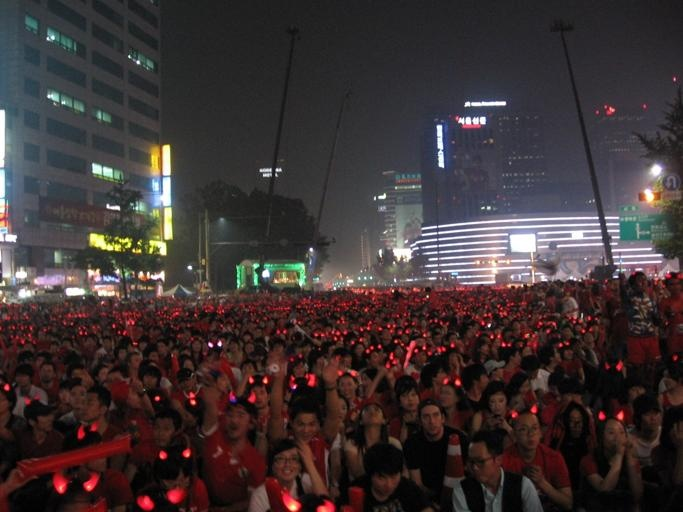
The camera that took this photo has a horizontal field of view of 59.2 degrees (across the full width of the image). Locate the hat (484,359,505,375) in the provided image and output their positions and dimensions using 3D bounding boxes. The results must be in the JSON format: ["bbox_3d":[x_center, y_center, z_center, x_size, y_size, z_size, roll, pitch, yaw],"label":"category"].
[{"bbox_3d":[2.949,2.127,11.703,0.496,0.177,0.324,-22,8,9],"label":"hat"}]
